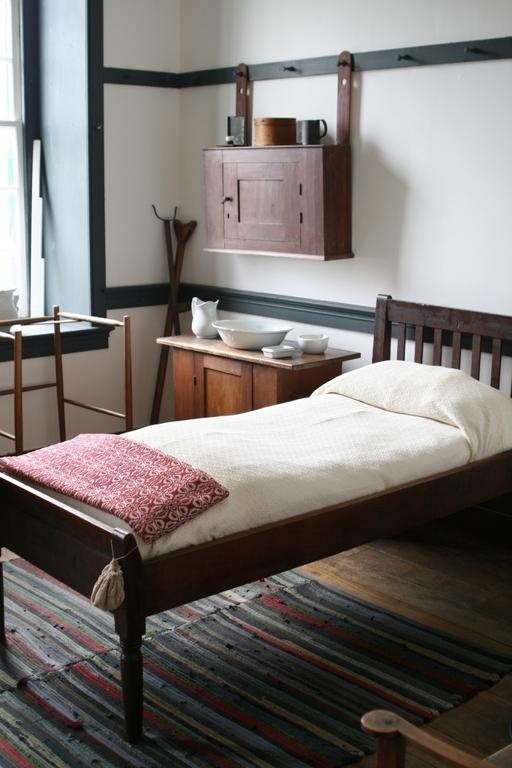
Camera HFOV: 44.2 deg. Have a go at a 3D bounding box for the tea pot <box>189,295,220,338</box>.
[{"bbox_3d":[-0.274,-0.333,3.269,0.192,0.221,0.147,8,11,44],"label":"tea pot"}]

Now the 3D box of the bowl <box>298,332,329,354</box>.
[{"bbox_3d":[0.249,-0.187,2.898,0.103,0.068,0.105,2,12,-1],"label":"bowl"}]
